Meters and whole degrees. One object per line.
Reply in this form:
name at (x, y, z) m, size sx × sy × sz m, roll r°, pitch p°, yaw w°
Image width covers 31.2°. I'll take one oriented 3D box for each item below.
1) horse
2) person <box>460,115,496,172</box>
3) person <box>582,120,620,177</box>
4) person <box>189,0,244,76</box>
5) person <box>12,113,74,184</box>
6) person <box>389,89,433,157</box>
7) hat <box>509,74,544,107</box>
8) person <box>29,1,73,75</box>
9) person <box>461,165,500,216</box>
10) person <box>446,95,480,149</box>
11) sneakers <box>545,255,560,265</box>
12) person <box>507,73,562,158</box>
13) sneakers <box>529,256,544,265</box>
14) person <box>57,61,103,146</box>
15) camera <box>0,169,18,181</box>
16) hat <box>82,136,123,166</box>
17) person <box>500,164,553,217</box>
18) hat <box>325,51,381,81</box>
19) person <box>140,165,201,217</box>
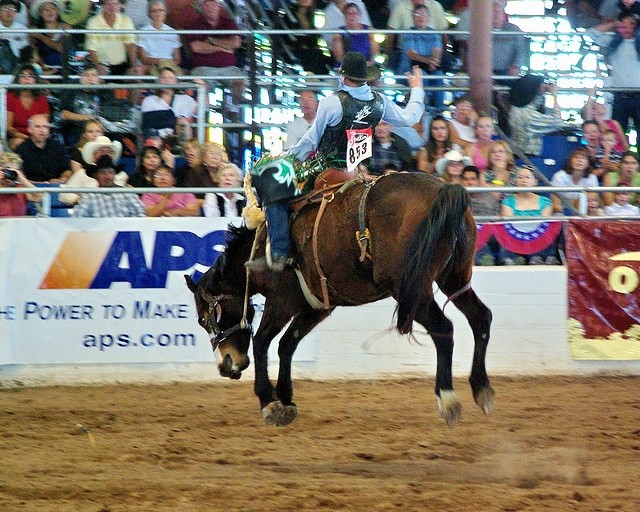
horse at (0.127, 0.490, 11.389) m, size 1.022 × 2.406 × 4.131 m, roll 7°, pitch -15°, yaw -40°
person at (1.984, -1.372, 13.958) m, size 0.253 × 0.822 × 0.491 m, roll 7°, pitch -28°, yaw 6°
person at (3.624, -1.377, 14.701) m, size 0.275 × 0.903 × 0.537 m, roll -16°, pitch -17°, yaw 36°
person at (-1.403, -2.946, 15.339) m, size 0.724 × 0.929 × 0.817 m, roll -5°, pitch 18°, yaw -6°
person at (-3.365, -1.271, 13.808) m, size 0.860 × 0.902 × 0.613 m, roll -9°, pitch 0°, yaw -28°
person at (1.061, -1.489, 13.171) m, size 0.495 × 0.846 × 0.196 m, roll 12°, pitch -23°, yaw -23°
hat at (2.689, -2.132, 14.827) m, size 0.424 × 0.428 × 0.187 m, roll -3°, pitch 19°, yaw -2°
person at (-3.568, -2.846, 15.090) m, size 0.261 × 1.082 × 0.606 m, roll -6°, pitch 5°, yaw -4°
person at (1.805, -0.711, 12.840) m, size 0.399 × 0.691 × 0.197 m, roll -17°, pitch 8°, yaw -35°
person at (1.804, -1.605, 14.079) m, size 0.245 × 0.782 × 0.469 m, roll -1°, pitch -24°, yaw 16°
sneakers at (2.692, 0.063, 13.184) m, size 0.106 × 0.063 × 0.135 m, roll 10°, pitch 22°, yaw 18°
person at (2.788, -1.795, 14.924) m, size 0.651 × 1.548 × 0.417 m, roll -21°, pitch 36°, yaw -14°
sneakers at (2.503, 0.056, 13.175) m, size 0.182 × 0.105 × 0.053 m, roll -2°, pitch 19°, yaw 1°
person at (-3.018, -1.844, 14.418) m, size 0.715 × 1.200 × 0.342 m, roll 6°, pitch -15°, yaw -3°
camera at (-3.595, -0.935, 13.251) m, size 0.075 × 0.090 × 0.180 m, roll 14°, pitch 26°, yaw 29°
hat at (-2.632, -1.283, 13.704) m, size 0.390 × 0.364 × 0.135 m, roll -5°, pitch 27°, yaw -38°
person at (2.414, -0.737, 13.408) m, size 0.613 × 0.373 × 0.768 m, roll -3°, pitch 36°, yaw 9°
hat at (0.355, -1.806, 10.997) m, size 0.308 × 0.135 × 0.336 m, roll -20°, pitch 26°, yaw -12°
person at (-1.822, -0.820, 13.550) m, size 0.332 × 0.584 × 1.046 m, roll -6°, pitch 33°, yaw -31°
